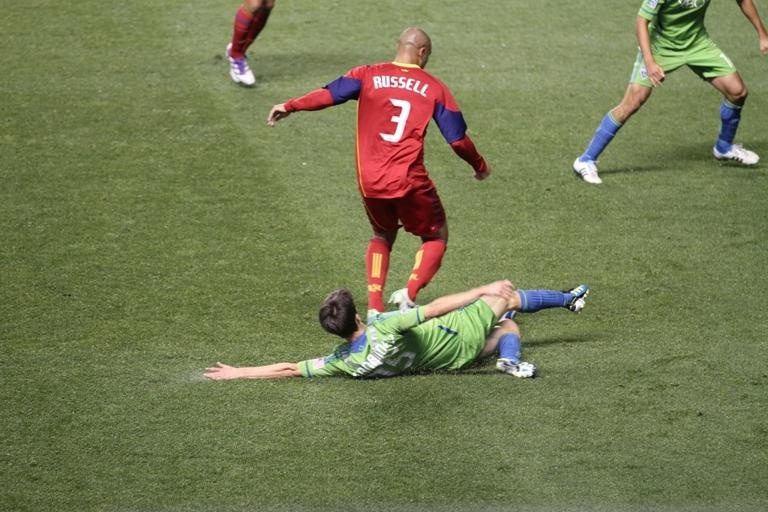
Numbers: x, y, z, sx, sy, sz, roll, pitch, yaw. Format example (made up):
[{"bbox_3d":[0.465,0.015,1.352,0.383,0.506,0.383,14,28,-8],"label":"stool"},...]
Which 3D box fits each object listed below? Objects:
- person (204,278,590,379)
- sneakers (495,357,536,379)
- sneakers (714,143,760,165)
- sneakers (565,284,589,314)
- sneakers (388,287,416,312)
[{"bbox_3d":[0.274,0.726,10.619,2.568,1.084,0.782,-16,93,-29],"label":"person"},{"bbox_3d":[1.135,0.963,10.481,0.340,0.146,0.132,-10,86,16],"label":"sneakers"},{"bbox_3d":[3.837,-1.117,13.370,0.576,0.227,0.192,5,45,5],"label":"sneakers"},{"bbox_3d":[1.743,0.362,11.044,0.204,0.117,0.366,22,33,6],"label":"sneakers"},{"bbox_3d":[0.164,0.395,11.003,0.146,0.118,0.274,1,10,-13],"label":"sneakers"}]
